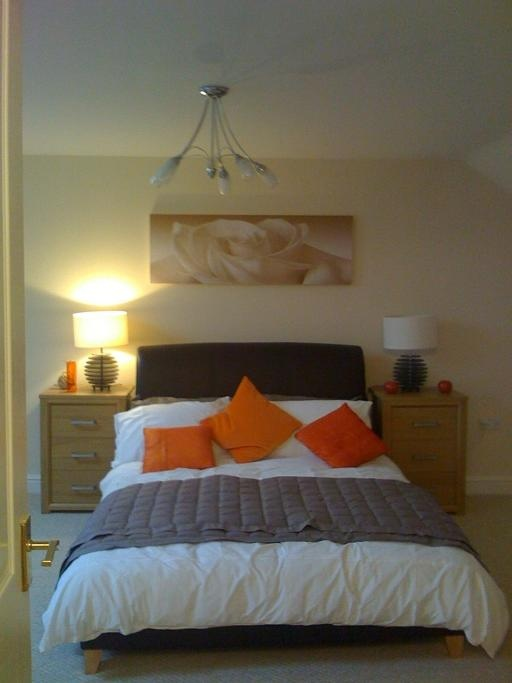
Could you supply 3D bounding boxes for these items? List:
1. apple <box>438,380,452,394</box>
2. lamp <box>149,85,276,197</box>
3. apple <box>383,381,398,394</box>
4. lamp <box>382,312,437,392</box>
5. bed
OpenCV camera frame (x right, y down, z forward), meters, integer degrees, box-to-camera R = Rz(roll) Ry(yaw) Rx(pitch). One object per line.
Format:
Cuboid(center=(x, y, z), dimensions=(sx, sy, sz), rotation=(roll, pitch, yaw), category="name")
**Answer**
Cuboid(center=(1.051, 0.256, 3.577), dimensions=(0.081, 0.070, 0.076), rotation=(0, 3, 4), category="apple")
Cuboid(center=(-0.130, -0.664, 2.049), dimensions=(0.407, 0.275, 0.425), rotation=(-21, 36, -37), category="lamp")
Cuboid(center=(0.753, 0.256, 3.568), dimensions=(0.072, 0.061, 0.065), rotation=(-5, -6, 1), category="apple")
Cuboid(center=(0.877, 0.074, 3.624), dimensions=(0.381, 0.392, 0.362), rotation=(0, 0, 19), category="lamp")
Cuboid(center=(0.022, 0.469, 2.750), dimensions=(1.304, 0.692, 1.546), rotation=(-1, 4, -1), category="bed")
